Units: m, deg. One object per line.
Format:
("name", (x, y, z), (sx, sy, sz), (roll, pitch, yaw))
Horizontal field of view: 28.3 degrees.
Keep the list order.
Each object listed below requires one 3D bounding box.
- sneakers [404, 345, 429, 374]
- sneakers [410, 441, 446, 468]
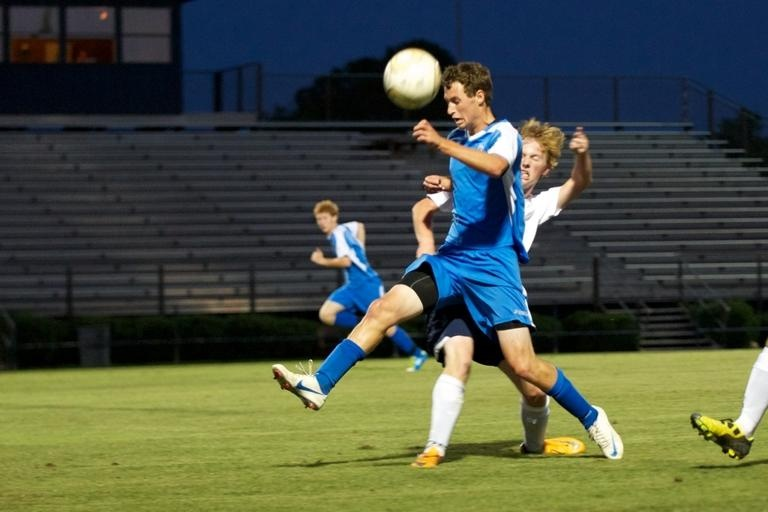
("sneakers", (0.664, 1.887, 27.723), (0.292, 0.575, 0.207), (25, 8, -35))
("sneakers", (0.677, 2.816, 21.620), (0.201, 0.245, 0.478), (33, -55, -32))
